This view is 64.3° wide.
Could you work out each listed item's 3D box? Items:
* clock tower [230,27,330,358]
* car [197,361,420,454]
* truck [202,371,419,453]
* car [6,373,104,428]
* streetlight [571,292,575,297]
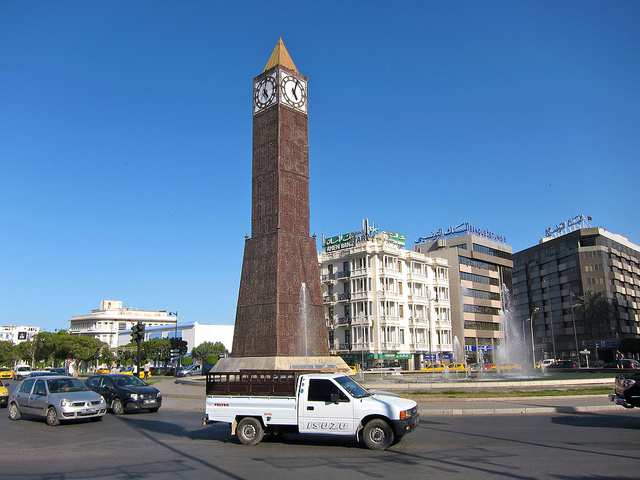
[{"bbox_3d":[-3.714,-4.892,47.332,6.980,30.978,4.339,-1,-15,-4],"label":"clock tower"},{"bbox_3d":[-0.286,4.659,16.064,6.065,2.225,3.363,-7,-10,20],"label":"car"},{"bbox_3d":[-0.201,5.010,15.864,5.108,1.897,2.752,-6,-12,19],"label":"truck"},{"bbox_3d":[-10.891,6.721,21.243,4.848,1.935,2.020,-11,-18,32],"label":"car"},{"bbox_3d":[48.720,10.622,98.323,0.763,1.054,0.385,14,-11,-37],"label":"streetlight"}]
